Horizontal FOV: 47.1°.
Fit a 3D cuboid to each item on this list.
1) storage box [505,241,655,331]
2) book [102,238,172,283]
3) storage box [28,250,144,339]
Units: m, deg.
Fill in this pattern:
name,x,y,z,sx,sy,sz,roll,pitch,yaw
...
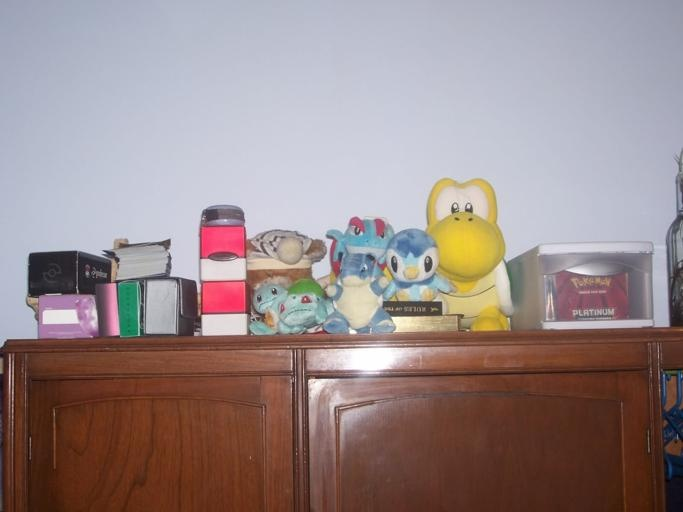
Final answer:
name,x,y,z,sx,sy,sz,roll,pitch,yaw
storage box,0.675,0.087,2.221,0.402,0.242,0.188,-5,-5,16
book,-0.588,0.000,2.250,0.146,0.055,0.131,-4,9,-18
storage box,-0.728,0.109,2.220,0.280,0.250,0.225,-1,-6,-27
